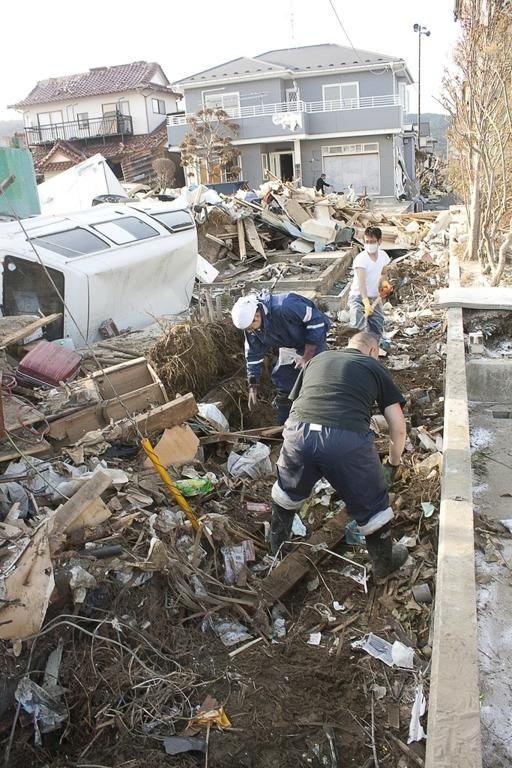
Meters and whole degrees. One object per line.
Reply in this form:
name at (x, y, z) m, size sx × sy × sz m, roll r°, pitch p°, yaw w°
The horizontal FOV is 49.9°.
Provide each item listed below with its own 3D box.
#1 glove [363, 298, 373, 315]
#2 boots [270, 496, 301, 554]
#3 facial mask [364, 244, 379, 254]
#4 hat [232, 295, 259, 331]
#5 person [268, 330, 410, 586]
glove at (1.228, -0.865, 6.168) m, size 0.062 × 0.166 × 0.124 m, roll 4°, pitch 5°, yaw -26°
boots at (0.179, 0.901, 3.487) m, size 0.156 × 0.532 × 0.173 m, roll 29°, pitch 56°, yaw 28°
facial mask at (1.283, -1.513, 6.171) m, size 0.127 × 0.083 × 0.129 m, roll 4°, pitch 23°, yaw 20°
hat at (-0.084, -0.565, 4.507) m, size 0.215 × 0.273 × 0.252 m, roll -6°, pitch 15°, yaw 0°
person at (0.457, 0.484, 3.210) m, size 0.766 × 1.315 × 0.684 m, roll 0°, pitch 16°, yaw 20°
